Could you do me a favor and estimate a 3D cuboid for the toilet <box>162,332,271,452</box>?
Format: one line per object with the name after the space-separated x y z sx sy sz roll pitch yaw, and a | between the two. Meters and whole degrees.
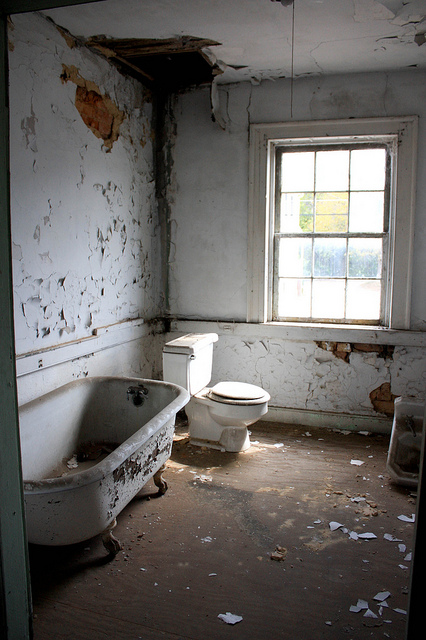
0.025 0.459 2.956 0.621 0.686 0.372 3 7 26 | toilet

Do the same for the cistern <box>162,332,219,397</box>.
-0.120 0.272 3.121 0.196 0.329 0.523 2 8 18 | cistern
